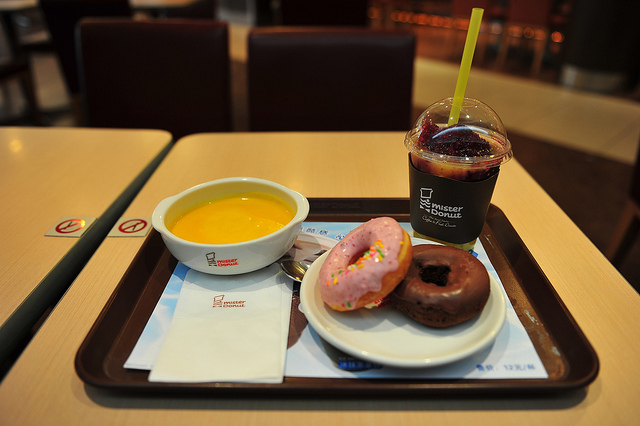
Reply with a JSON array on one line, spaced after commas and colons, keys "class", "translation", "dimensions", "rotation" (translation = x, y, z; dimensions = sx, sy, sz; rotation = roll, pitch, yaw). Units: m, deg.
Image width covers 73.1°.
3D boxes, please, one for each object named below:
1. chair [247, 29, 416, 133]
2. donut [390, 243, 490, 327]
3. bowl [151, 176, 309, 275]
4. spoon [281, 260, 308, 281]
[{"class": "chair", "translation": [0.036, -0.485, 1.598], "dimensions": [0.616, 0.336, 0.163], "rotation": [-1, 36, -1]}, {"class": "donut", "translation": [0.221, 0.133, 0.781], "dimensions": [0.150, 0.073, 0.139], "rotation": [18, 40, 23]}, {"class": "bowl", "translation": [-0.182, 0.021, 0.878], "dimensions": [0.260, 0.082, 0.221], "rotation": [-1, 39, -2]}, {"class": "spoon", "translation": [-0.051, 0.107, 0.843], "dimensions": [0.048, 0.008, 0.029], "rotation": [-1, 34, -22]}]
